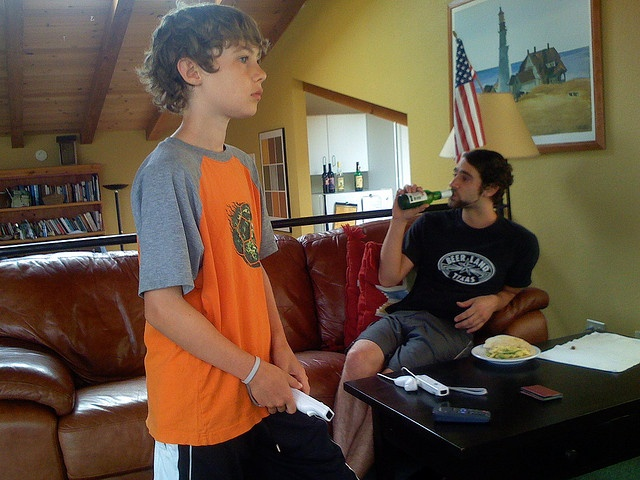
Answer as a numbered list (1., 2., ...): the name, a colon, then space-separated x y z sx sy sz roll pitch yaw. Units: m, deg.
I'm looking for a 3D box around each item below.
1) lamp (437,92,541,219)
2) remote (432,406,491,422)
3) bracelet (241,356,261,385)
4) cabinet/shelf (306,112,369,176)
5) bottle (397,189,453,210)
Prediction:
1. lamp: 0.966 -0.588 2.952 0.454 0.689 0.469 -1 12 8
2. remote: 0.450 0.551 1.564 0.132 0.034 0.068 -5 3 6
3. bracelet: -0.158 0.310 1.183 0.014 0.057 0.051 19 -24 -20
4. cabinet/shelf: 0.213 -1.328 6.864 1.044 0.884 0.343 -1 0 -17
5. bottle: 0.511 -0.186 2.303 0.314 0.085 0.079 -10 13 -27
